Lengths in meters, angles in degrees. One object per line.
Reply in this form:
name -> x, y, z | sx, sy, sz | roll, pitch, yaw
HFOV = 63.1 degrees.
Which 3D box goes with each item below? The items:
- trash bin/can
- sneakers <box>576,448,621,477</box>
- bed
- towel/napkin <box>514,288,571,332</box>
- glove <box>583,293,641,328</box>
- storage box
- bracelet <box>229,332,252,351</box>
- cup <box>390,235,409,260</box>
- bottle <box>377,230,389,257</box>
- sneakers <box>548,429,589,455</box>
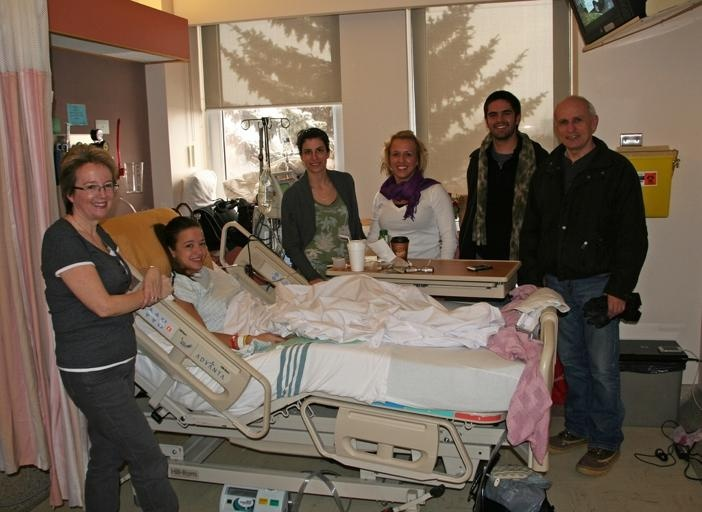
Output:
trash bin/can -> 2.046, 0.854, 4.096 | 0.508, 0.663, 0.641 | -1, 3, 19
sneakers -> 1.482, 1.247, 3.445 | 0.305, 0.124, 0.112 | -5, 7, -33
bed -> -0.204, 0.438, 3.370 | 2.249, 1.460, 1.256 | 0, 14, 5
towel/napkin -> 0.951, 0.268, 2.878 | 0.223, 0.084, 0.229 | -25, 27, 21
glove -> 1.518, 0.327, 3.347 | 0.299, 0.190, 0.104 | -4, -18, 18
storage box -> 2.095, 0.852, 4.114 | 0.445, 0.534, 0.553 | -2, 18, 18
bracelet -> -0.586, 0.468, 3.092 | 0.077, 0.046, 0.106 | 0, 3, 2
cup -> 0.324, -0.041, 3.681 | 0.131, 0.147, 0.133 | -3, 3, 0
bottle -> 0.211, -0.120, 3.731 | 0.059, 0.096, 0.098 | 0, -5, 15
sneakers -> 1.376, 1.200, 3.657 | 0.273, 0.111, 0.110 | 0, 4, -7
